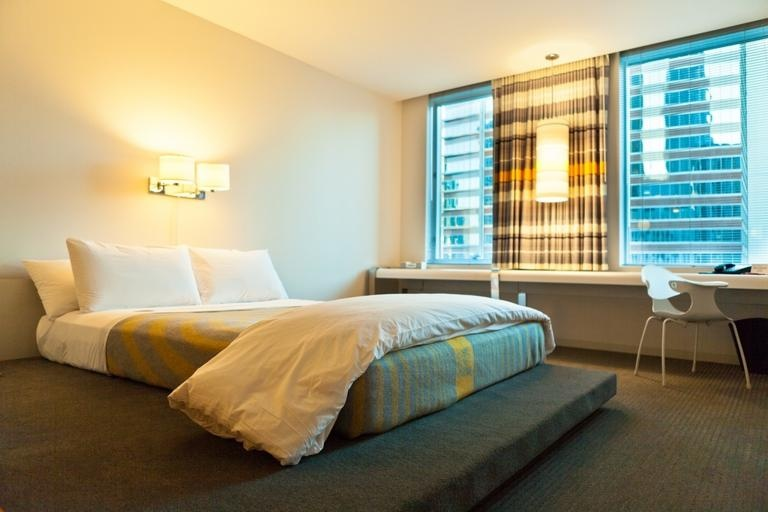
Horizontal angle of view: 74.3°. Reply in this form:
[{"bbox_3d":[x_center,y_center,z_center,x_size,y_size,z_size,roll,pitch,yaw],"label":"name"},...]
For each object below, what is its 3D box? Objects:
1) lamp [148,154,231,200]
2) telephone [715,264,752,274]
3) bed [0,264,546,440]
[{"bbox_3d":[-1.711,-0.663,4.442,0.436,0.294,0.612,-8,-7,42],"label":"lamp"},{"bbox_3d":[2.982,0.114,4.355,0.206,0.062,0.149,3,2,37],"label":"telephone"},{"bbox_3d":[-0.782,0.550,3.000,2.342,0.545,1.438,-1,0,28],"label":"bed"}]
